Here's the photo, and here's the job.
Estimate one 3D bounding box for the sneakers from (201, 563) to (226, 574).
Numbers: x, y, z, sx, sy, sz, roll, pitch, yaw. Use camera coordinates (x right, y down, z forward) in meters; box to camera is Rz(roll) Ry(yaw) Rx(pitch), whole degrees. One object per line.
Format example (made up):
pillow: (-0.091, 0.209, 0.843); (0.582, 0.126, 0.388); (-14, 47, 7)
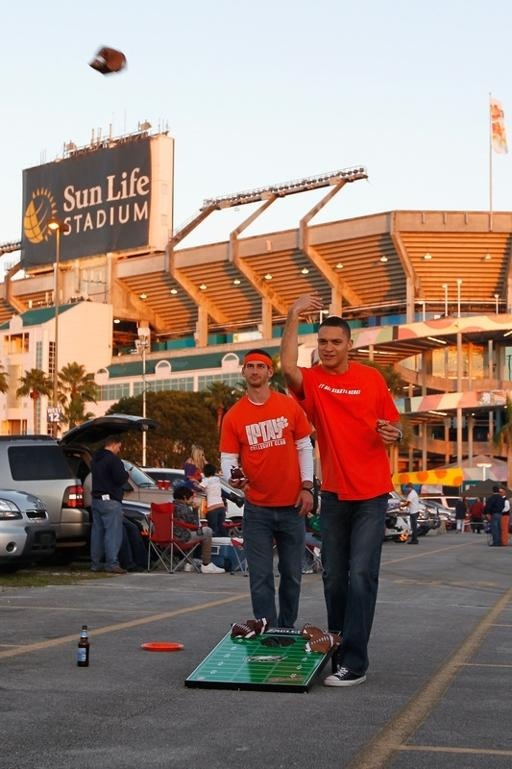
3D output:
sneakers: (-0.582, 2.394, 14.395); (0.278, 0.113, 0.125); (0, -1, 1)

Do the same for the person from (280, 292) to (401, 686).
person: (0.408, 0.571, 5.792); (0.591, 1.898, 0.448); (3, -4, -35)

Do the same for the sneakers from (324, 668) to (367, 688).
sneakers: (0.454, 1.474, 5.585); (0.213, 0.079, 0.078); (12, -17, -36)

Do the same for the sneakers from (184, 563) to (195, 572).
sneakers: (-0.888, 2.425, 14.634); (0.093, 0.112, 0.121); (-1, -5, 11)

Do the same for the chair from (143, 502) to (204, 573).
chair: (-1.130, 2.006, 14.576); (0.630, 0.933, 1.227); (1, -3, -6)

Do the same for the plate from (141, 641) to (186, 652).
plate: (-0.588, 1.613, 6.829); (0.253, 0.042, 0.487); (1, -3, -7)

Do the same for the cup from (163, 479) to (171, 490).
cup: (-1.437, 1.606, 17.685); (0.139, 0.144, 0.135); (-1, -20, 0)

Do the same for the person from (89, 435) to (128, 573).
person: (-1.829, 1.508, 13.802); (0.471, 1.620, 0.601); (3, -4, -40)

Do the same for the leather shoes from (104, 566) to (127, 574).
leather shoes: (-1.747, 2.278, 13.587); (0.261, 0.123, 0.091); (0, -1, 14)

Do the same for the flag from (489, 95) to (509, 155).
flag: (16.538, -17.456, 75.480); (0.966, 4.155, 3.829); (0, -3, 14)
